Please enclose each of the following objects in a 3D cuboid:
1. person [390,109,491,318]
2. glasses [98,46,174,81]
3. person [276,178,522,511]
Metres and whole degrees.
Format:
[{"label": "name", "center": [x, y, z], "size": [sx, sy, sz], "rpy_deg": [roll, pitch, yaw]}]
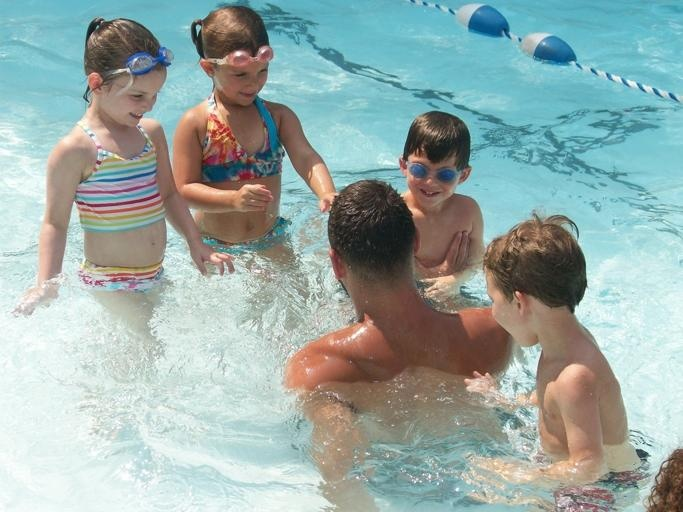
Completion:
[{"label": "person", "center": [0.594, -0.014, 4.598], "size": [0.707, 1.816, 0.672], "rpy_deg": [7, 29, 21]}, {"label": "glasses", "center": [-1.174, -1.049, 3.833], "size": [0.276, 0.086, 0.207], "rpy_deg": [-6, 15, 33]}, {"label": "person", "center": [0.227, 0.443, 3.531], "size": [1.162, 0.769, 1.475], "rpy_deg": [-11, 48, -3]}]
